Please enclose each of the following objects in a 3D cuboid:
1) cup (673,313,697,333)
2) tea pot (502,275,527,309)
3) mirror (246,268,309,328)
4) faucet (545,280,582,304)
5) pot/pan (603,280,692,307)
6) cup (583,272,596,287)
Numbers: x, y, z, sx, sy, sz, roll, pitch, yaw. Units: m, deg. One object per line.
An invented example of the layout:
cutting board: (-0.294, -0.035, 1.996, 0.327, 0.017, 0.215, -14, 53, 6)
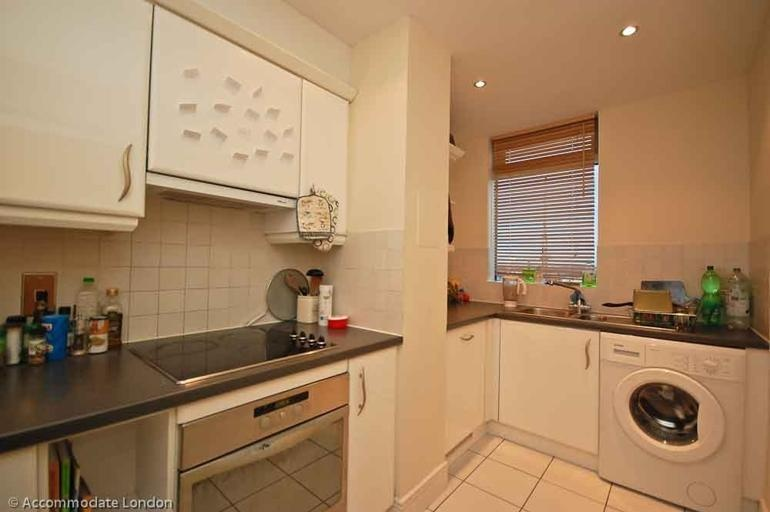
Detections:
cup: (1.948, 0.427, 3.300, 0.131, 0.120, 0.117, -2, 0, 13)
tea pot: (1.056, 0.294, 4.234, 0.247, 0.262, 0.156, -1, 0, -39)
mirror: (-0.681, 0.255, 3.294, 0.429, 0.361, 0.061, -1, 0, -39)
faucet: (1.434, 0.287, 4.056, 0.131, 0.193, 0.413, -1, 0, -19)
pot/pan: (1.987, 0.241, 3.638, 0.293, 0.180, 0.288, 0, -1, -35)
cup: (1.626, 0.192, 4.051, 0.109, 0.124, 0.109, 2, -3, 0)
